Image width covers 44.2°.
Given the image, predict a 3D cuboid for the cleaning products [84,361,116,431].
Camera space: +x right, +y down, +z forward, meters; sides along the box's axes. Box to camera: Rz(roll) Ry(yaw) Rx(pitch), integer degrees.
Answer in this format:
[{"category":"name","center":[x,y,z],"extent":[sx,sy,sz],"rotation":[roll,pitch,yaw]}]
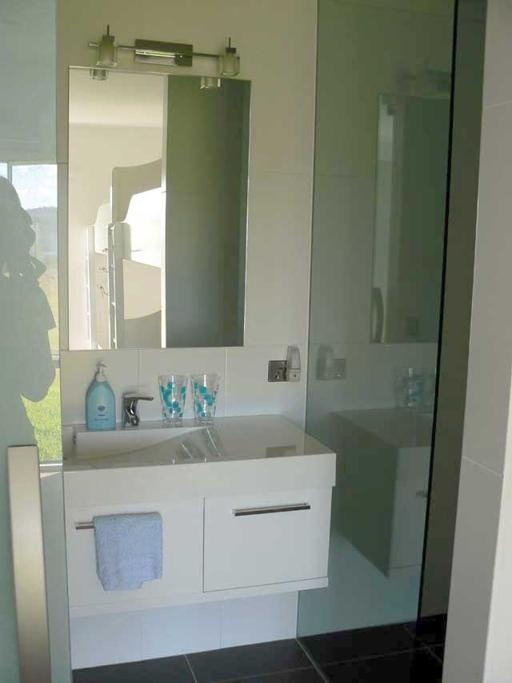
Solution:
[{"category":"cleaning products","center":[-0.517,0.186,2.081],"extent":[0.089,0.215,0.089],"rotation":[1,7,15]}]

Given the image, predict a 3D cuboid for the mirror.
[{"category":"mirror","center":[-0.300,-0.381,2.237],"extent":[0.498,1.003,0.047],"rotation":[-5,31,-15]}]

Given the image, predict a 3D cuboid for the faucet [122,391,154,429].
[{"category":"faucet","center":[-0.411,0.237,2.196],"extent":[0.106,0.149,0.104],"rotation":[0,4,-9]}]

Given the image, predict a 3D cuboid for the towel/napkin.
[{"category":"towel/napkin","center":[-0.372,0.613,1.816],"extent":[0.204,0.216,0.220],"rotation":[0,17,-17]}]

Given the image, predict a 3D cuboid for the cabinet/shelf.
[{"category":"cabinet/shelf","center":[0.035,0.613,1.944],"extent":[0.393,0.310,0.289],"rotation":[-1,10,-9]}]

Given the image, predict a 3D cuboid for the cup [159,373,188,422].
[{"category":"cup","center":[-0.295,0.201,2.193],"extent":[0.101,0.163,0.061],"rotation":[0,7,5]}]

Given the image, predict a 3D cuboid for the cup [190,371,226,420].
[{"category":"cup","center":[-0.179,0.197,2.302],"extent":[0.130,0.215,0.133],"rotation":[0,8,0]}]
